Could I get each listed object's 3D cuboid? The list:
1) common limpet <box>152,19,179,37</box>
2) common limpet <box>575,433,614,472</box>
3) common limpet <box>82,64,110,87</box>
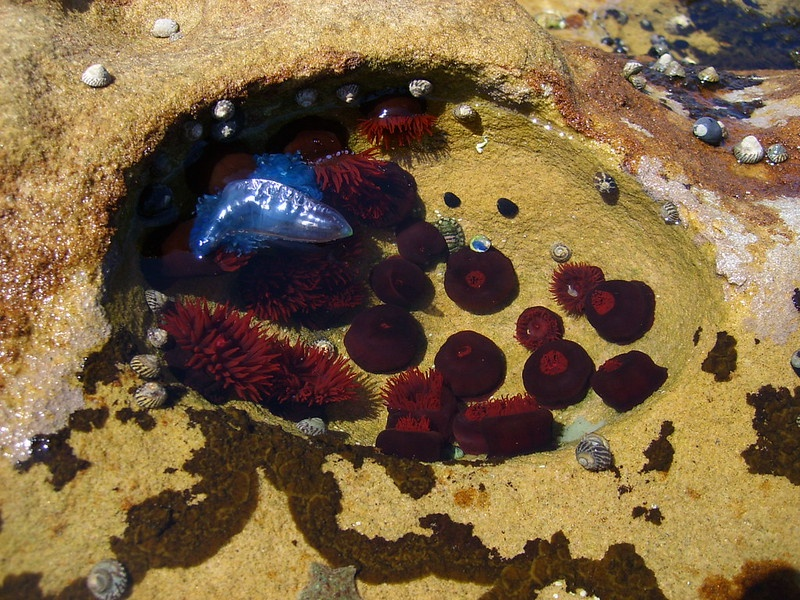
[{"bbox_3d":[-2.145,-2.461,8.801,0.245,0.073,0.194,0,77,-6],"label":"common limpet"},{"bbox_3d":[1.636,1.292,8.217,0.307,0.166,0.317,3,77,-5],"label":"common limpet"},{"bbox_3d":[-2.583,-1.879,8.190,0.253,0.075,0.188,-9,78,-8],"label":"common limpet"}]
